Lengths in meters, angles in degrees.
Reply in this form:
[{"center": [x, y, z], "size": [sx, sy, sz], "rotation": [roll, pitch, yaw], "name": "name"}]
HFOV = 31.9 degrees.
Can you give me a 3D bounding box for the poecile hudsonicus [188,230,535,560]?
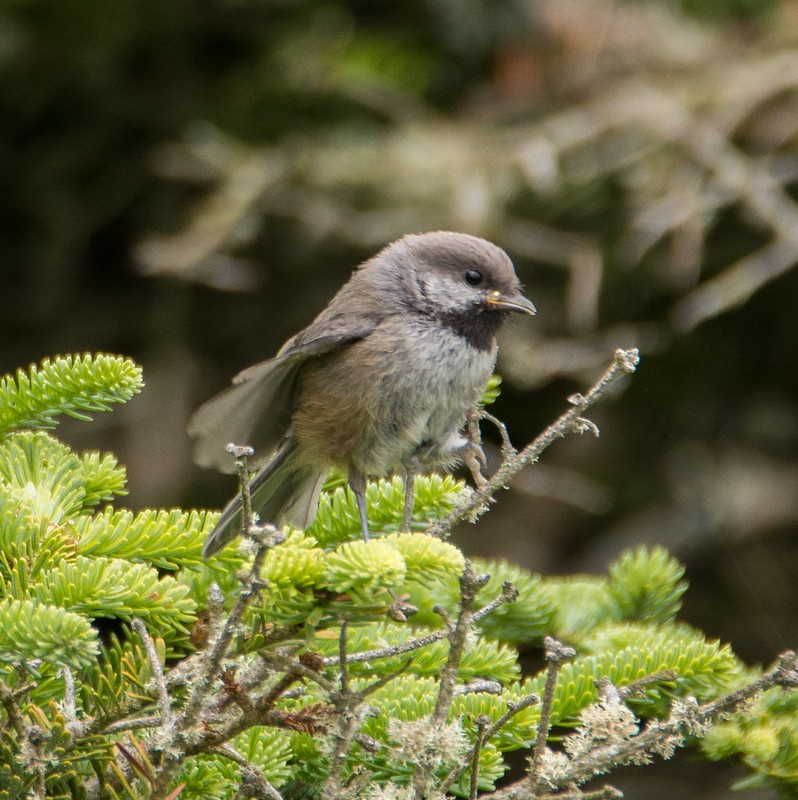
[{"center": [-0.173, 0.010, 3.872], "size": [0.961, 0.810, 0.963], "rotation": [-1, -4, -10], "name": "poecile hudsonicus"}]
